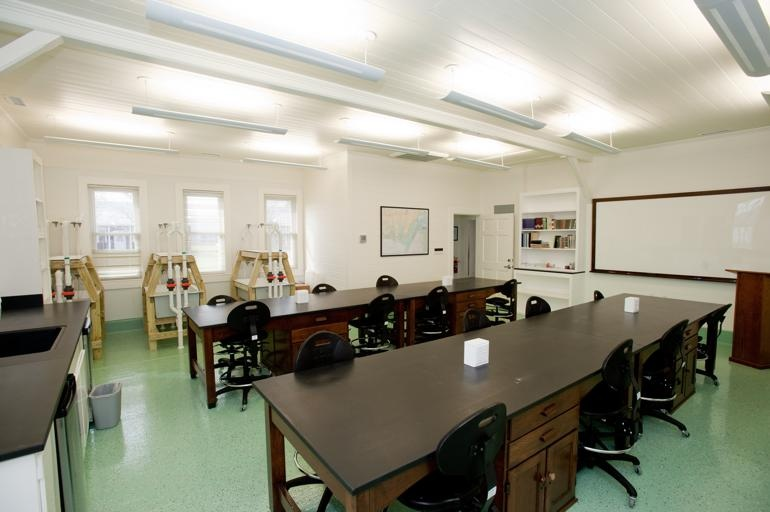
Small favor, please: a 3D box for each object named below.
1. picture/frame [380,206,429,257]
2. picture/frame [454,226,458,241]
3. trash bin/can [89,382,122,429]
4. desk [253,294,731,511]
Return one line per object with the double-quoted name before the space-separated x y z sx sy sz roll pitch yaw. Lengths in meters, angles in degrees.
"picture/frame" 0.326 -0.496 9.882 1.017 0.777 0.022 -7 12 -36
"picture/frame" 1.640 -0.532 11.532 0.159 0.341 0.082 -3 0 -30
"trash bin/can" -3.225 1.723 5.677 0.317 0.570 0.353 -3 0 -31
"desk" 1.047 1.583 4.988 4.236 1.714 1.598 -2 0 -34
